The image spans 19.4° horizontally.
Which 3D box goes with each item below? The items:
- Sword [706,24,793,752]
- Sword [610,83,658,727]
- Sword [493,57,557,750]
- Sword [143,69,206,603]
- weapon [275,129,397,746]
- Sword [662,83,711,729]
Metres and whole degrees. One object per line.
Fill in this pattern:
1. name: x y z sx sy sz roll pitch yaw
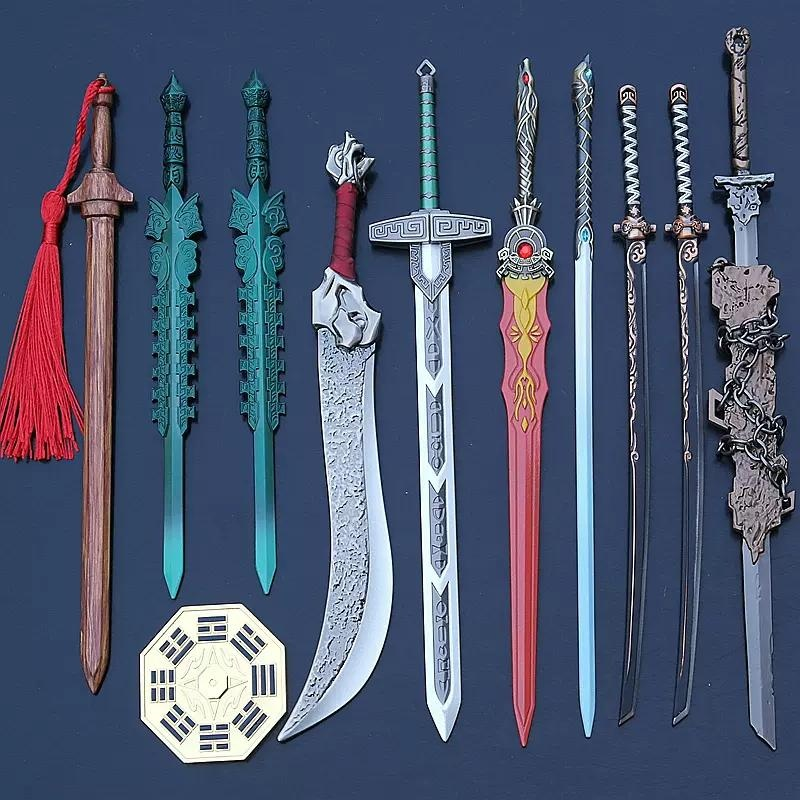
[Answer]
1. Sword: 0.793 -0.031 5.325 0.191 1.569 0.407 -1 9 -5
2. Sword: 0.524 0.009 5.306 0.093 1.388 0.336 1 9 6
3. Sword: 0.283 0.006 5.281 0.122 1.487 0.332 0 9 0
4. Sword: -0.512 -0.142 5.322 0.128 1.141 0.299 -1 9 -5
5. weapon: -0.127 0.087 5.264 0.235 1.308 0.332 2 9 10
6. Sword: 0.647 0.007 5.316 0.100 1.389 0.358 1 9 7
